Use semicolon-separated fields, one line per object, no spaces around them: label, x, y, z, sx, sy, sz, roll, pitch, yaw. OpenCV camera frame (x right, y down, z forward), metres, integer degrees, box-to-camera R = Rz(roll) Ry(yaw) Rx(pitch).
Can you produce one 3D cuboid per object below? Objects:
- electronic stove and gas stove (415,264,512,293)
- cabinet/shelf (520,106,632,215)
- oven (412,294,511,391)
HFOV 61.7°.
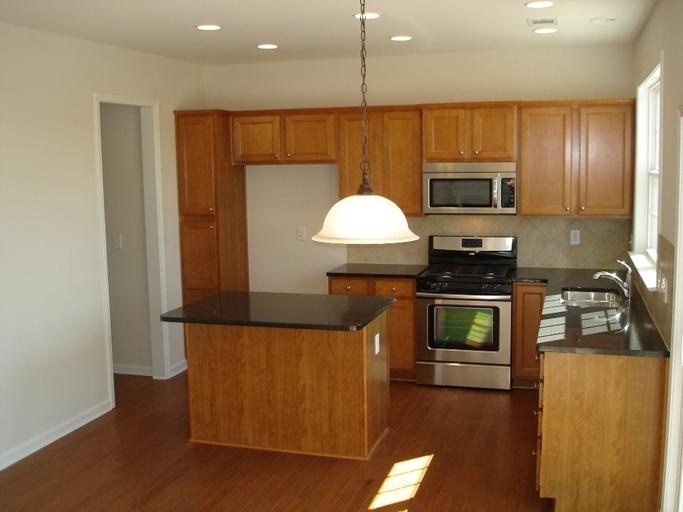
electronic stove and gas stove;1.254;0.232;5.734;0.909;0.207;0.619;1;7;19
cabinet/shelf;2.259;-0.936;5.413;1.076;0.971;0.439;1;3;13
oven;1.327;0.874;5.804;1.035;0.907;0.734;-1;-7;24
